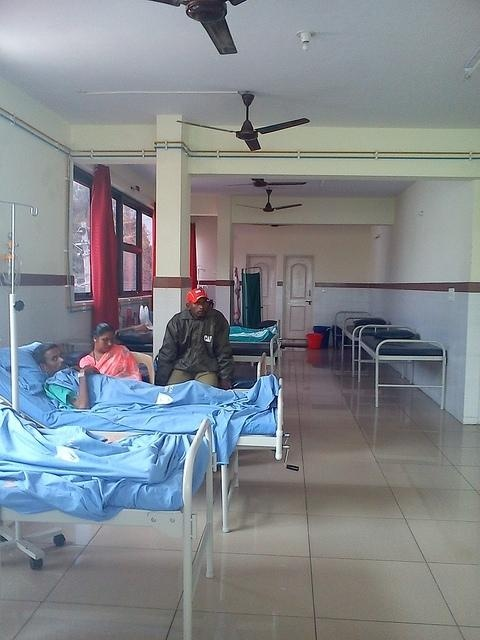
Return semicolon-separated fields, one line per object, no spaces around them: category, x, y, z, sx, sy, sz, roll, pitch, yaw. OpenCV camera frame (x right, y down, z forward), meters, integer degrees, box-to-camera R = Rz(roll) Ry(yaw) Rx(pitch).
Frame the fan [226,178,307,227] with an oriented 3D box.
fan;0.503;-1.876;8.105;1.046;0.363;1.816;0;5;0

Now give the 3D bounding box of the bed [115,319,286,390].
bed;-0.372;0.318;5.775;1.201;0.558;0.893;0;4;1

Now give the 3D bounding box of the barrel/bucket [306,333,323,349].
barrel/bucket;1.465;0.434;10.617;0.305;0.281;0.309;2;5;0

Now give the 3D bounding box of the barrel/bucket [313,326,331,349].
barrel/bucket;1.719;0.358;10.768;0.426;0.438;0.400;0;-4;0

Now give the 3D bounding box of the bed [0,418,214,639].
bed;-0.597;0.753;2.043;0.940;0.603;0.593;0;4;2

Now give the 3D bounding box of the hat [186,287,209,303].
hat;-0.358;-0.196;4.269;0.124;0.099;0.178;-3;0;-19

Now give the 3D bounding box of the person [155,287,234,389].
person;-0.382;0.266;4.277;0.609;1.007;0.573;-3;18;-19
